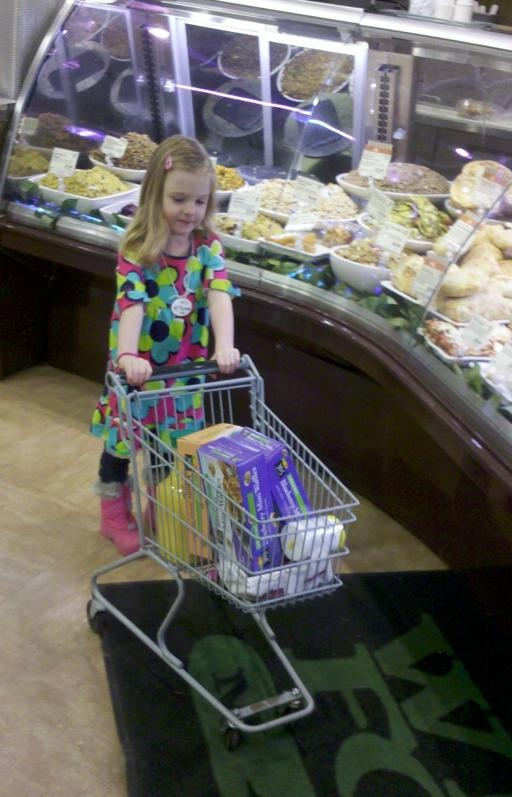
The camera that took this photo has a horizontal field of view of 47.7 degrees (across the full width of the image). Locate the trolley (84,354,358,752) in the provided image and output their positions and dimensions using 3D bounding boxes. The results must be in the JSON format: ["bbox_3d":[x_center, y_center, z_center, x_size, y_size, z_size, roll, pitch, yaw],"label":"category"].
[{"bbox_3d":[-0.117,0.373,1.312,0.356,0.628,0.622,19,-15,-40],"label":"trolley"}]

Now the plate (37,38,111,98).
[{"bbox_3d":[-0.804,-1.432,2.544,0.370,0.218,0.068,11,24,23],"label":"plate"}]

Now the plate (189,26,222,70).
[{"bbox_3d":[-0.196,-1.317,2.186,0.166,0.142,0.027,19,28,37],"label":"plate"}]

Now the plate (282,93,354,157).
[{"bbox_3d":[0.213,-0.910,1.958,0.038,0.193,0.262,-18,29,-39],"label":"plate"}]

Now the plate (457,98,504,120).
[{"bbox_3d":[0.606,-0.785,1.584,0.096,0.059,0.026,31,1,13],"label":"plate"}]

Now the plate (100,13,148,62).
[{"bbox_3d":[-0.551,-1.487,2.402,0.177,0.182,0.043,13,25,35],"label":"plate"}]
